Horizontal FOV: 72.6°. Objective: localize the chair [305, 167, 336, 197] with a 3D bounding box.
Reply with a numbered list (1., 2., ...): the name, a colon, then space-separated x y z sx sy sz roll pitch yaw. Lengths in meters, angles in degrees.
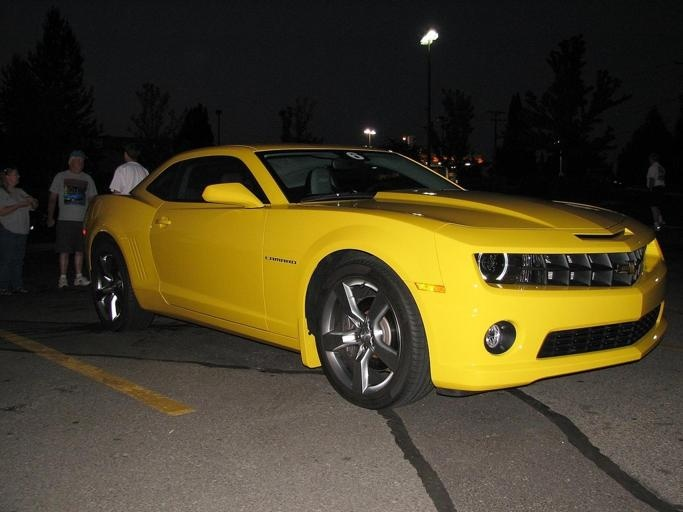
1. chair: -0.207 -0.715 4.429 0.258 0.323 0.372 -2 13 -18
